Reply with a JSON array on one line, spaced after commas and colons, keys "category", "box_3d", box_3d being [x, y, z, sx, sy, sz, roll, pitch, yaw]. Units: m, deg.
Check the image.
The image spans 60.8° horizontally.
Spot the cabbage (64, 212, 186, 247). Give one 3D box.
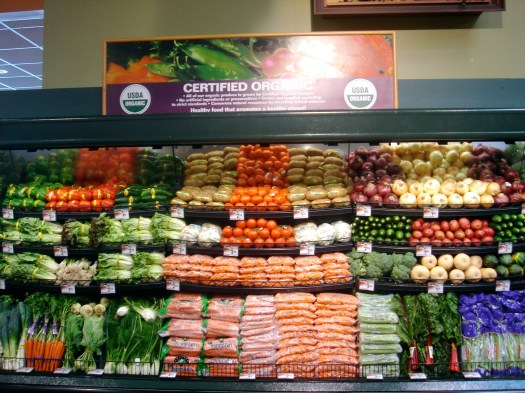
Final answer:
[{"category": "cabbage", "box_3d": [-1.397, 0.325, 4.449, 1.211, 0.324, 0.124, -3, -16, 0]}]

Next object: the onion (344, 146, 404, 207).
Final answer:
[{"category": "onion", "box_3d": [1.138, -0.196, 4.547, 0.608, 0.555, 0.207, 0, -14, 3]}]

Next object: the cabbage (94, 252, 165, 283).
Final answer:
[{"category": "cabbage", "box_3d": [-1.335, 0.708, 4.436, 0.677, 0.303, 0.078, -2, -16, -4]}]

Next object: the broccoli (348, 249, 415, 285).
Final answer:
[{"category": "broccoli", "box_3d": [1.168, 0.685, 4.368, 0.513, 0.312, 0.202, -4, -11, 11]}]
